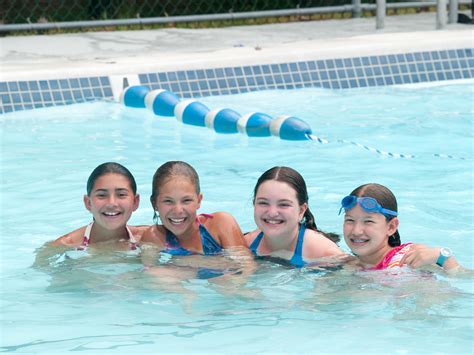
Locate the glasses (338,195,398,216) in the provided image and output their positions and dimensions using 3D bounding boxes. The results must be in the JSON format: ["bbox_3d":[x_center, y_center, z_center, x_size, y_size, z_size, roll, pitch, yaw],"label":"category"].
[{"bbox_3d":[0.628,0.139,2.489,0.245,0.114,0.094,-3,5,9],"label":"glasses"}]

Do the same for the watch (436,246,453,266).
[{"bbox_3d":[0.963,0.369,2.428,0.049,0.071,0.078,47,30,19],"label":"watch"}]
